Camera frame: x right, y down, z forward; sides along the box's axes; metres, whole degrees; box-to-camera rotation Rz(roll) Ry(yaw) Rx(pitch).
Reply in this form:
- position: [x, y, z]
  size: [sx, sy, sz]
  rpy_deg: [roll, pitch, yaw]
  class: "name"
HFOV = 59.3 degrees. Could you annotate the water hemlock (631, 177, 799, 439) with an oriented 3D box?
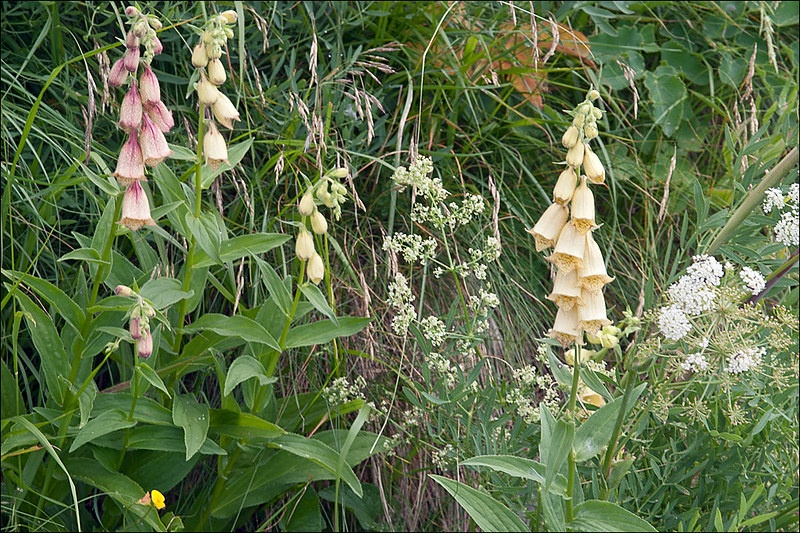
- position: [1.385, 0.151, 3.025]
  size: [0.361, 0.797, 1.122]
  rpy_deg: [-11, 24, 24]
  class: "water hemlock"
